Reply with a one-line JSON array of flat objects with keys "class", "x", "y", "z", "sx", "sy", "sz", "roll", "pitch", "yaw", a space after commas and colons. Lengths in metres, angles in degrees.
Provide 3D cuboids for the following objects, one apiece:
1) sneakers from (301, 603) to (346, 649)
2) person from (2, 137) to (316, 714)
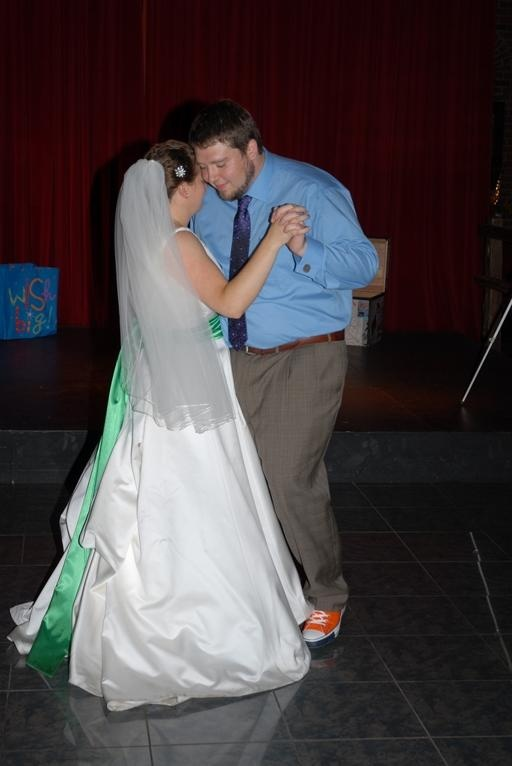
[{"class": "sneakers", "x": 0.176, "y": 0.657, "z": 1.680, "sx": 0.052, "sy": 0.054, "sz": 0.148, "roll": -1, "pitch": -1, "yaw": 18}, {"class": "person", "x": -0.203, "y": 0.050, "z": 1.535, "sx": 0.741, "sy": 1.191, "sz": 0.627, "roll": -3, "pitch": 7, "yaw": -13}]
